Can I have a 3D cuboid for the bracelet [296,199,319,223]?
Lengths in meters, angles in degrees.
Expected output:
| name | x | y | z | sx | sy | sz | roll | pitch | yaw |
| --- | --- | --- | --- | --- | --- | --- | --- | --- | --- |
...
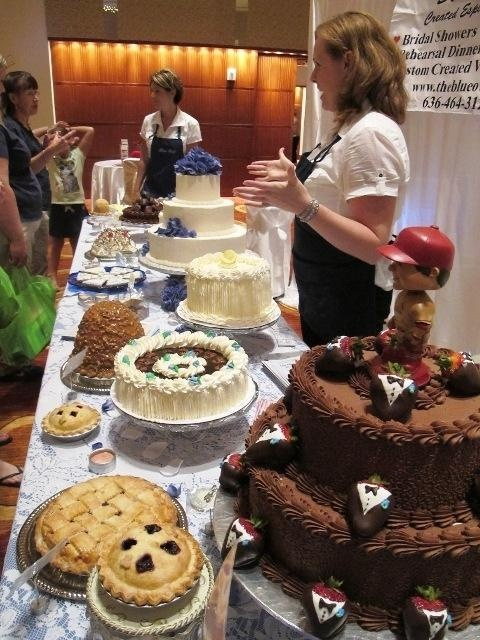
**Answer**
| name | x | y | z | sx | sy | sz | roll | pitch | yaw |
| --- | --- | --- | --- | --- | --- | --- | --- | --- | --- |
| bracelet | 0.262 | -0.415 | 1.919 | 0.025 | 0.082 | 0.078 | 51 | 40 | -1 |
